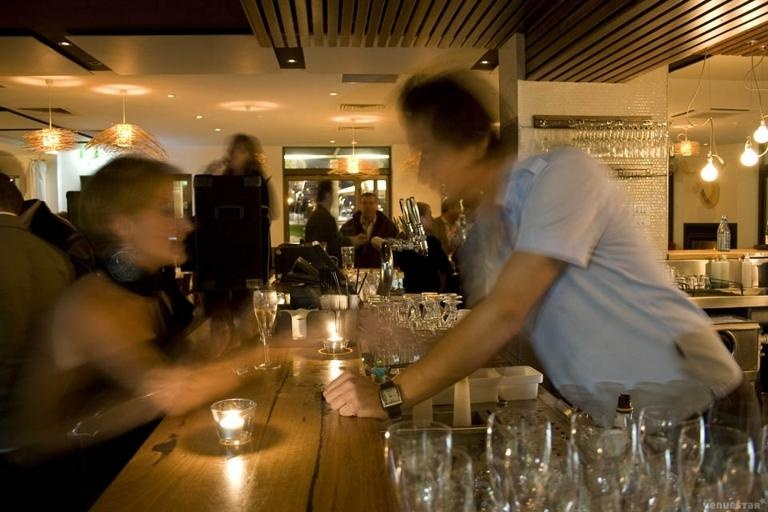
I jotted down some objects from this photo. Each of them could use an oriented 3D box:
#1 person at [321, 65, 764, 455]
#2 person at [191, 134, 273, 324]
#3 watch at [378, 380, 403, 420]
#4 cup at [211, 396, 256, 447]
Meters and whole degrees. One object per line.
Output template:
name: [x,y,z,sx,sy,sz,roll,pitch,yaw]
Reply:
person: [0.658,0.083,2.691,1.727,1.471,0.971,1,-5,3]
person: [-1.304,-0.053,5.066,0.763,1.015,0.777,-15,-27,21]
watch: [0.025,0.476,2.055,0.084,0.116,0.109,-18,-31,-2]
cup: [-0.496,0.532,1.996,0.154,0.118,0.140,-1,2,0]
